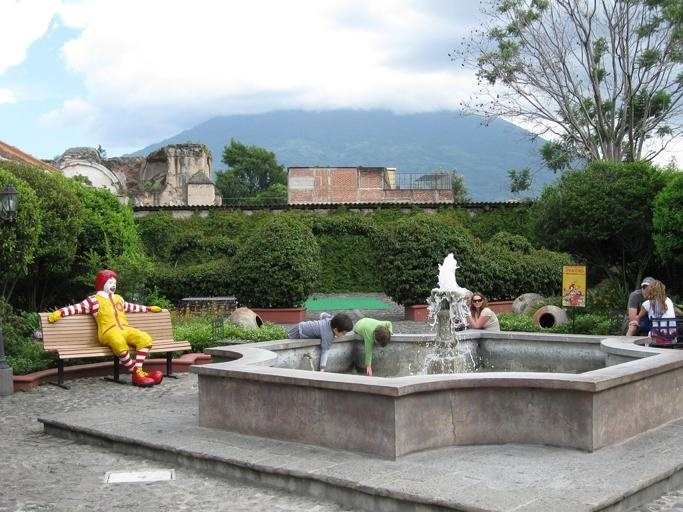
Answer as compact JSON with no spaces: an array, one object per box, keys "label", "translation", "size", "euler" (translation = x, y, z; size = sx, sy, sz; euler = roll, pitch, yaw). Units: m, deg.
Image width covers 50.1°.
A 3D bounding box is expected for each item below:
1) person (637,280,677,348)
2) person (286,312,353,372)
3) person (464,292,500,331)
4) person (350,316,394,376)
[{"label":"person","translation":[5.191,0.897,11.943],"size":[0.524,0.850,1.343],"euler":[-1,9,22]},{"label":"person","translation":[-0.289,1.229,11.693],"size":[0.808,0.487,1.265],"euler":[0,40,8]},{"label":"person","translation":[2.548,1.010,13.332],"size":[0.453,0.736,0.773],"euler":[-5,8,-5]},{"label":"person","translation":[0.496,1.326,11.487],"size":[0.673,0.339,0.876],"euler":[-17,30,-30]}]
